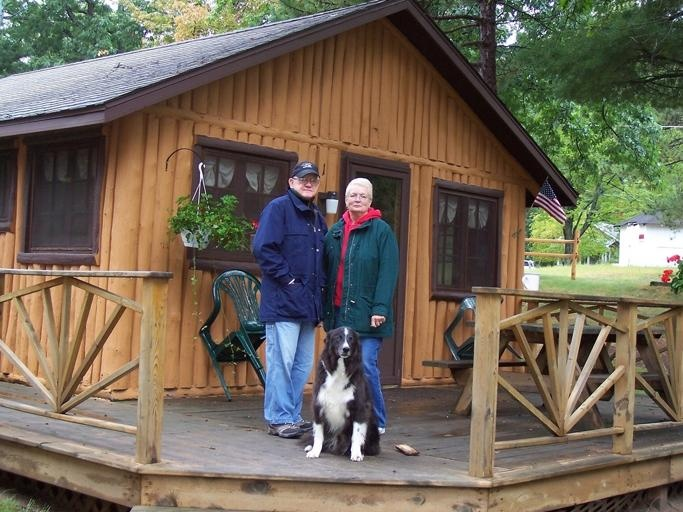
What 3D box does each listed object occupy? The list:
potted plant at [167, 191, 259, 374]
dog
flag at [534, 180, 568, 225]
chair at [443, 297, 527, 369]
[{"bbox_3d":[-1.377,0.303,8.009,1.035,1.804,0.850,2,1,-13],"label":"potted plant"},{"bbox_3d":[0.011,1.048,5.718,0.533,1.038,0.571,3,2,5],"label":"dog"},{"bbox_3d":[3.306,-0.857,11.227,0.545,0.661,0.049,24,-32,20],"label":"flag"},{"bbox_3d":[2.022,1.066,10.148,0.856,1.574,1.016,-1,-8,-26],"label":"chair"}]
